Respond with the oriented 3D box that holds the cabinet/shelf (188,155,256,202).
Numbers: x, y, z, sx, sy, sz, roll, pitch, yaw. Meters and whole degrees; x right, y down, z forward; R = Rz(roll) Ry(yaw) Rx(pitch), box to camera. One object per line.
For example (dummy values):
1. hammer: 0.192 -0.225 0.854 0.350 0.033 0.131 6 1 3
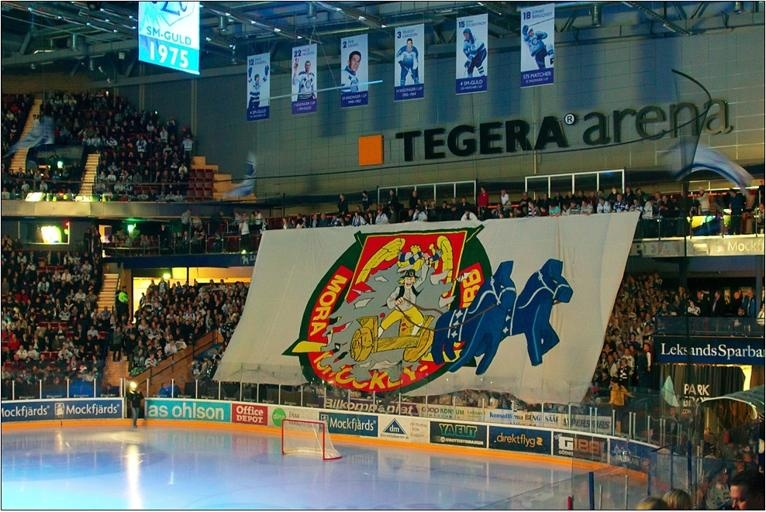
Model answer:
1. cabinet/shelf: -9.359 -4.250 98.988 3.042 3.100 1.081 1 -10 -9
